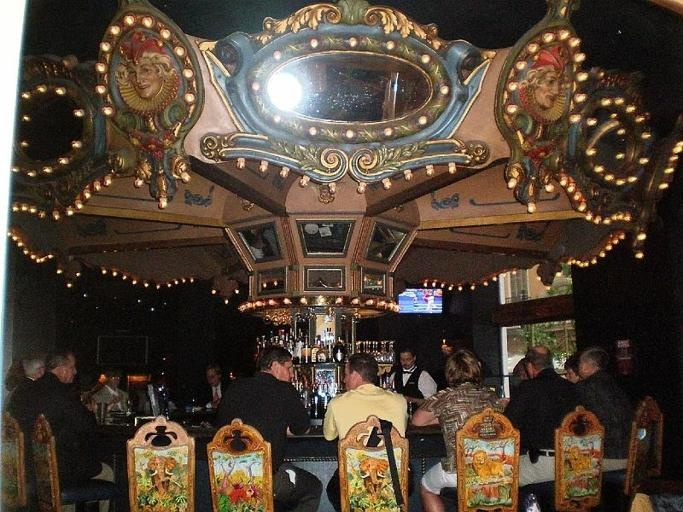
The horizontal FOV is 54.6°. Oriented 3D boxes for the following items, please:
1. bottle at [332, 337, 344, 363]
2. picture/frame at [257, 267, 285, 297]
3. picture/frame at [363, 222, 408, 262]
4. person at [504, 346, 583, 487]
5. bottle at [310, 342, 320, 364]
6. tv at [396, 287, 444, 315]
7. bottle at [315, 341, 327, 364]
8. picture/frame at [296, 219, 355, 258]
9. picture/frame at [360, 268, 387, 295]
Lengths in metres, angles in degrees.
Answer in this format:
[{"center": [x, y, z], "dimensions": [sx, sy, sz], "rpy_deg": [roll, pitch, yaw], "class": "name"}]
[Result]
[{"center": [-0.035, 1.207, 8.437], "dimensions": [0.208, 0.360, 0.214], "rpy_deg": [-2, -10, 0], "class": "bottle"}, {"center": [-0.902, 0.332, 8.541], "dimensions": [0.360, 0.264, 0.028], "rpy_deg": [-2, -8, 27], "class": "picture/frame"}, {"center": [0.559, -0.200, 8.667], "dimensions": [0.537, 0.548, 0.078], "rpy_deg": [-2, 30, -38], "class": "picture/frame"}, {"center": [1.895, 1.527, 6.060], "dimensions": [0.693, 1.429, 0.760], "rpy_deg": [-3, -4, 7], "class": "person"}, {"center": [-0.312, 1.198, 8.180], "dimensions": [0.147, 0.283, 0.152], "rpy_deg": [2, -17, 1], "class": "bottle"}, {"center": [2.359, 1.313, 19.614], "dimensions": [1.302, 0.761, 0.811], "rpy_deg": [-2, -13, -1], "class": "tv"}, {"center": [-0.260, 1.200, 8.208], "dimensions": [0.143, 0.271, 0.147], "rpy_deg": [0, -16, 0], "class": "bottle"}, {"center": [-0.235, -0.233, 8.347], "dimensions": [0.517, 0.449, 0.036], "rpy_deg": [-1, 32, -2], "class": "picture/frame"}, {"center": [0.432, 0.345, 8.711], "dimensions": [0.060, 0.327, 0.468], "rpy_deg": [-12, -17, 40], "class": "picture/frame"}]
